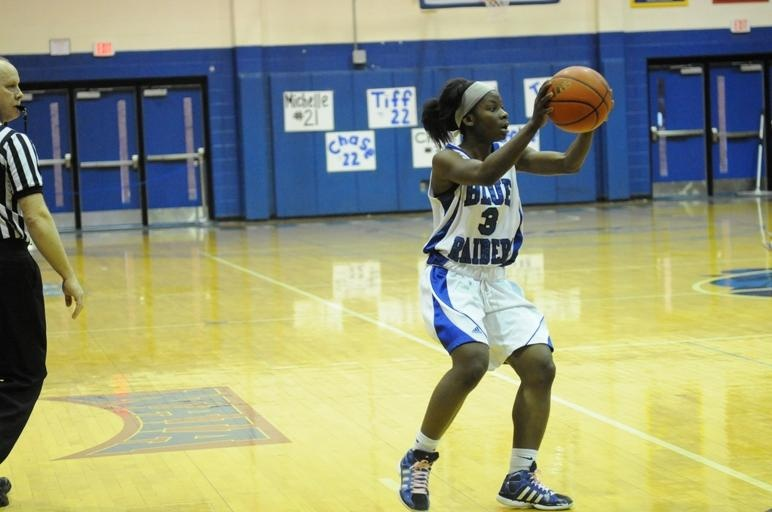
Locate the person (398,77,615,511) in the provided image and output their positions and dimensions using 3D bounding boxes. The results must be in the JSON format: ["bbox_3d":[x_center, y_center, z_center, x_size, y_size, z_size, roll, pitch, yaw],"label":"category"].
[{"bbox_3d":[0.410,0.134,3.314,0.741,1.880,0.616,-2,8,3],"label":"person"}]

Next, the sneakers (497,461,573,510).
[{"bbox_3d":[0.629,1.024,3.267,0.394,0.236,0.139,2,-1,-3],"label":"sneakers"}]
